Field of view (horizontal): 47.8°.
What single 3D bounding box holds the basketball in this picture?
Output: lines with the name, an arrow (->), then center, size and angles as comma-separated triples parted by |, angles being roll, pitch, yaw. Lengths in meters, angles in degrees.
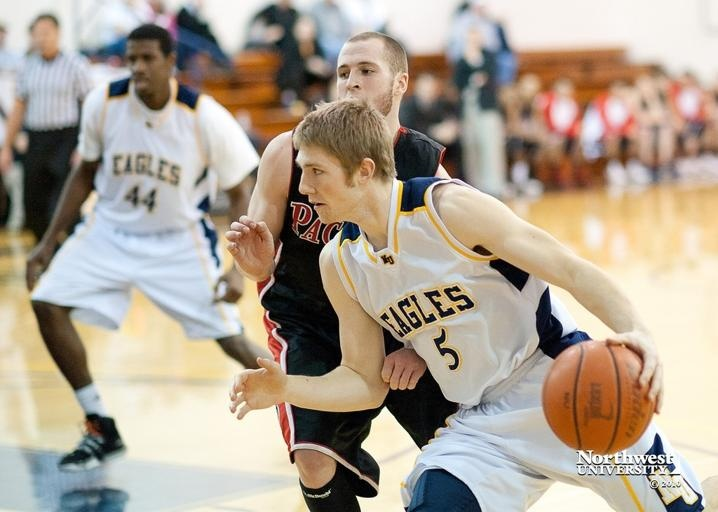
basketball -> 0.926, 0.552, 3.177 | 0.420, 0.497, 0.411 | -4, 3, -42

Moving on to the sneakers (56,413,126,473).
sneakers -> -1.472, 1.019, 4.408 | 0.384, 0.277, 0.149 | -5, -12, -44
